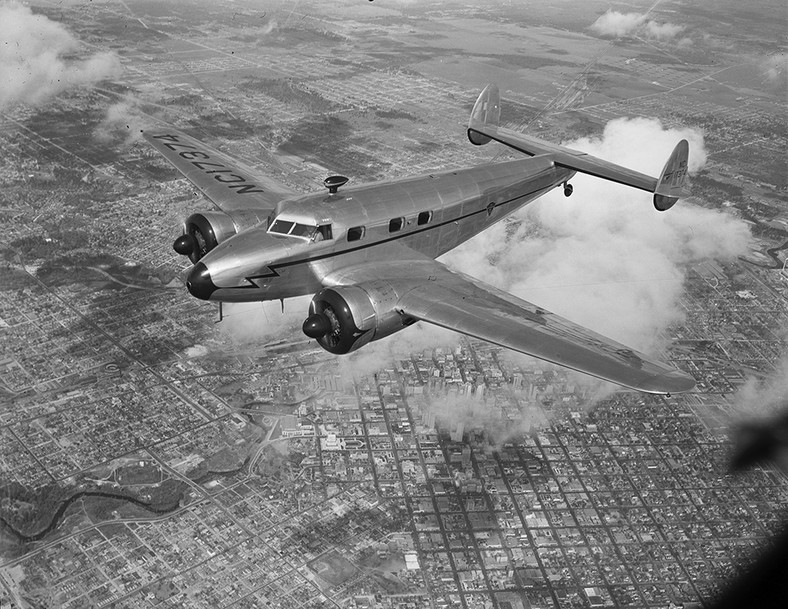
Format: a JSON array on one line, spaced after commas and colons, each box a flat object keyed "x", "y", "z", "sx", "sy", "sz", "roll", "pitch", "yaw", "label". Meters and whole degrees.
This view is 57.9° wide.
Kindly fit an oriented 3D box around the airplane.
[{"x": 2.145, "y": -2.726, "z": 34.941, "sx": 17.432, "sy": 3.749, "sz": 22.729, "roll": -23, "pitch": 37, "yaw": -40, "label": "airplane"}]
